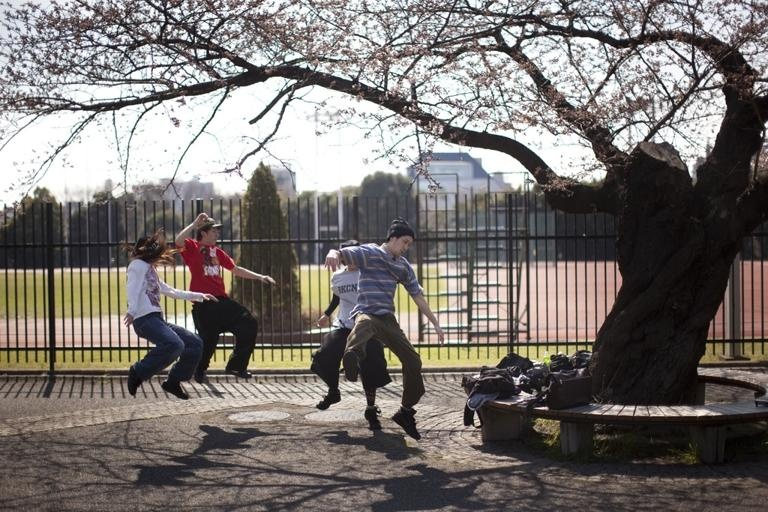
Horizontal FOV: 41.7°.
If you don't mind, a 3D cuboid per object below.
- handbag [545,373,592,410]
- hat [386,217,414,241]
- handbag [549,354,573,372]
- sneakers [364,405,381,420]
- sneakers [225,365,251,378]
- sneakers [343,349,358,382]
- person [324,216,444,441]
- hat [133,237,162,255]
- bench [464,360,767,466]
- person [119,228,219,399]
[{"bbox_3d":[2.638,1.949,14.305,0.571,0.393,0.408,1,-9,-35],"label":"handbag"},{"bbox_3d":[0.232,-0.359,14.585,0.352,0.312,0.260,2,7,-13],"label":"hat"},{"bbox_3d":[2.760,1.682,15.640,0.159,0.198,0.470,-9,-12,42],"label":"handbag"},{"bbox_3d":[-0.141,2.299,14.717,0.168,0.233,0.241,0,-7,20],"label":"sneakers"},{"bbox_3d":[-2.303,1.899,16.110,0.498,0.166,0.184,12,1,13],"label":"sneakers"},{"bbox_3d":[-0.468,1.539,14.061,0.198,0.410,0.172,1,2,-2],"label":"sneakers"},{"bbox_3d":[0.010,1.058,14.519,1.359,3.145,0.831,0,-2,-12],"label":"person"},{"bbox_3d":[-3.493,-0.127,14.900,0.269,0.323,0.340,-5,26,-32],"label":"hat"},{"bbox_3d":[3.389,2.385,14.290,4.061,0.870,1.652,0,-2,4],"label":"bench"},{"bbox_3d":[-3.285,0.919,14.880,1.023,2.446,0.487,0,-2,-14],"label":"person"}]
